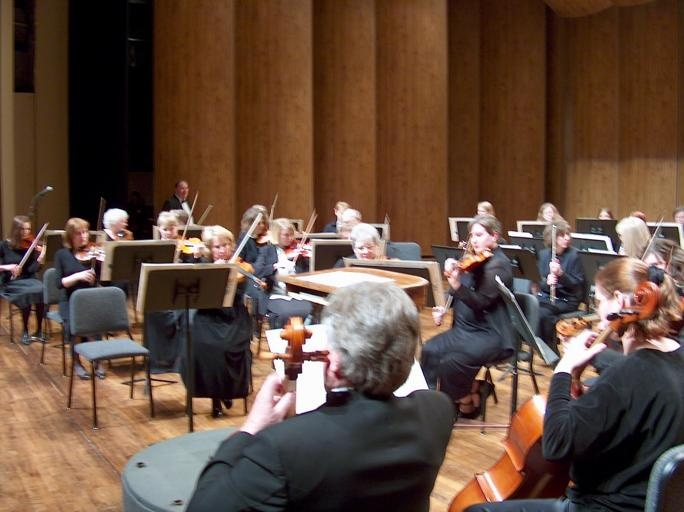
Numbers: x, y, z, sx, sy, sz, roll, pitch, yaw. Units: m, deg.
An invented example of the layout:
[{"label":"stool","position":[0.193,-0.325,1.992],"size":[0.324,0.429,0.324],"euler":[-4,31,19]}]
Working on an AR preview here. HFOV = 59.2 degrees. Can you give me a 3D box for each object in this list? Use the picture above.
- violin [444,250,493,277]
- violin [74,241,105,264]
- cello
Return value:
[{"label":"violin","position":[0.973,0.067,4.690],"size":[0.354,0.154,0.190],"euler":[-26,29,-9]},{"label":"violin","position":[-2.737,-0.055,6.521],"size":[0.450,0.099,0.243],"euler":[14,22,30]},{"label":"cello","position":[0.963,0.652,2.660],"size":[0.720,1.179,0.733],"euler":[-3,8,-24]}]
